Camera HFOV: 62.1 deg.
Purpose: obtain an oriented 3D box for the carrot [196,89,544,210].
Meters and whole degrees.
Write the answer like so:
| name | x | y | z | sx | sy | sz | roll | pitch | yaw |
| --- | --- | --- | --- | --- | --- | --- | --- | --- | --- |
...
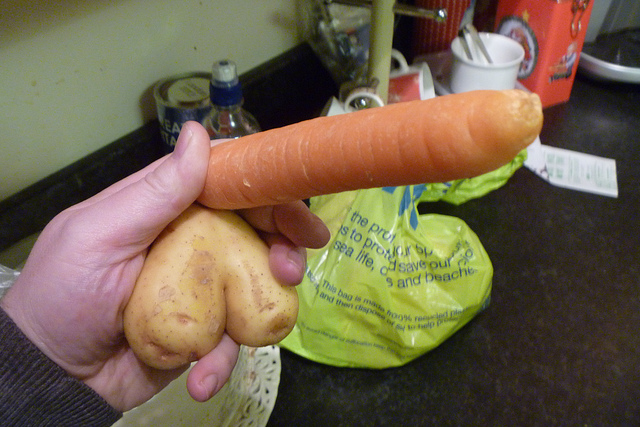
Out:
| name | x | y | z | sx | sy | sz | roll | pitch | yaw |
| --- | --- | --- | --- | --- | --- | --- | --- | --- | --- |
| carrot | 0.035 | -0.067 | 0.667 | 0.435 | 0.187 | 0.082 | 5 | 46 | 11 |

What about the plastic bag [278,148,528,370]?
| name | x | y | z | sx | sy | sz | roll | pitch | yaw |
| --- | --- | --- | --- | --- | --- | --- | --- | --- | --- |
| plastic bag | 0.106 | 0.092 | 1.189 | 0.480 | 0.499 | 0.356 | -8 | 37 | -23 |

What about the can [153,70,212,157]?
| name | x | y | z | sx | sy | sz | roll | pitch | yaw |
| --- | --- | --- | --- | --- | --- | --- | --- | --- | --- |
| can | -0.262 | -0.213 | 1.074 | 0.129 | 0.158 | 0.128 | 29 | 39 | 30 |

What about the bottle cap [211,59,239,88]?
| name | x | y | z | sx | sy | sz | roll | pitch | yaw |
| --- | --- | --- | --- | --- | --- | --- | --- | --- | --- |
| bottle cap | -0.169 | -0.246 | 0.934 | 0.046 | 0.037 | 0.046 | -1 | 36 | -3 |
